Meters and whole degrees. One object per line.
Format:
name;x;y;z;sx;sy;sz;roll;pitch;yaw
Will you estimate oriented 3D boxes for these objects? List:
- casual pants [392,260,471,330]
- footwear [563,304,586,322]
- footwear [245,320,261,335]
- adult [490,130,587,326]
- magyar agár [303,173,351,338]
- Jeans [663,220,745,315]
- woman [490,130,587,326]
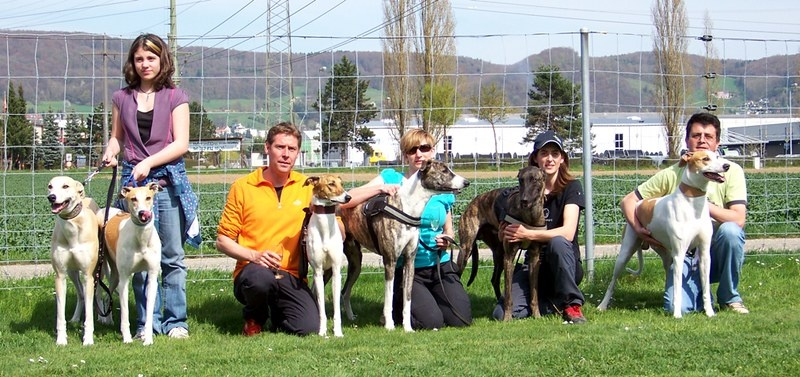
casual pants;0.881;2.549;18.763;1.170;0.477;1.829;-2;36;-3
footwear;3.990;2.847;18.525;0.519;0.392;0.314;-2;2;3
footwear;-3.341;3.152;18.413;0.335;0.332;0.337;2;-9;-19
adult;3.515;0.860;18.738;1.476;4.367;0.919;-2;2;9
magyar agár;-1.643;1.488;18.232;0.955;3.598;0.825;-3;2;-8
Jeans;6.890;1.927;19.505;2.124;2.416;2.036;4;-8;-1
woman;3.504;0.860;18.743;1.519;4.367;0.850;-2;2;6
